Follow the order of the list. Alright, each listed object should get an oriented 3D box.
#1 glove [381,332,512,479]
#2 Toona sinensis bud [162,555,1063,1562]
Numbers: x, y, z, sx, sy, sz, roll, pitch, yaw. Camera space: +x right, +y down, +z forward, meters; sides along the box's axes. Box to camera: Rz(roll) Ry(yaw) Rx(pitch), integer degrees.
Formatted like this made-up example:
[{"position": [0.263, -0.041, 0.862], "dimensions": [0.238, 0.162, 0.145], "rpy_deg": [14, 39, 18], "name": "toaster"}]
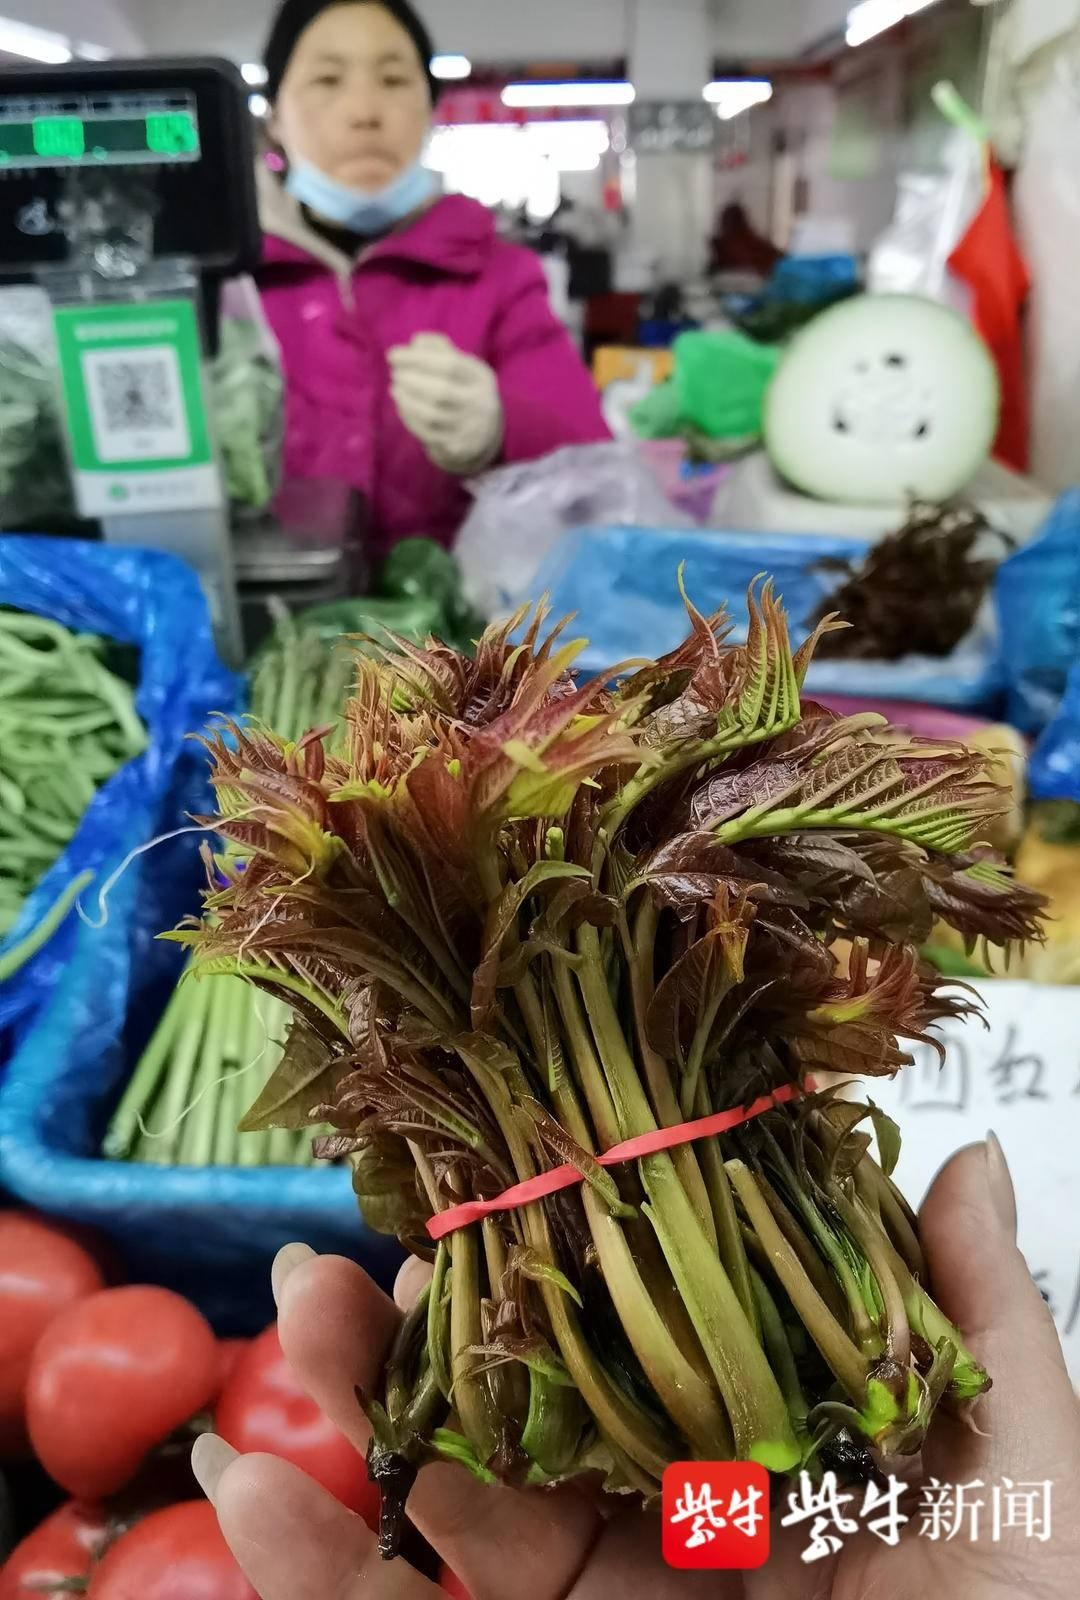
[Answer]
[{"position": [-0.067, -0.293, 0.917], "dimensions": [0.076, 0.090, 0.056], "rpy_deg": [-25, 33, -37], "name": "glove"}, {"position": [0.068, 0.131, 0.807], "dimensions": [0.530, 0.500, 0.489], "rpy_deg": [-8, 25, -25], "name": "Toona sinensis bud"}]
